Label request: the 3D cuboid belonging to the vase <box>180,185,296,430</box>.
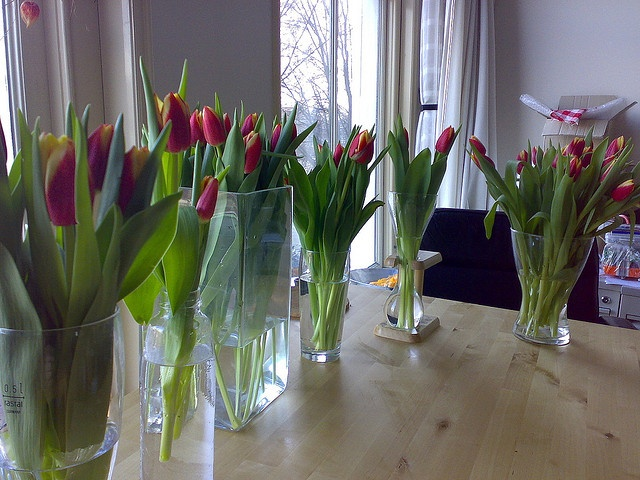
[{"bbox_3d":[-0.152,0.108,0.818,0.208,0.386,0.213,-3,11,-32],"label":"vase"}]
